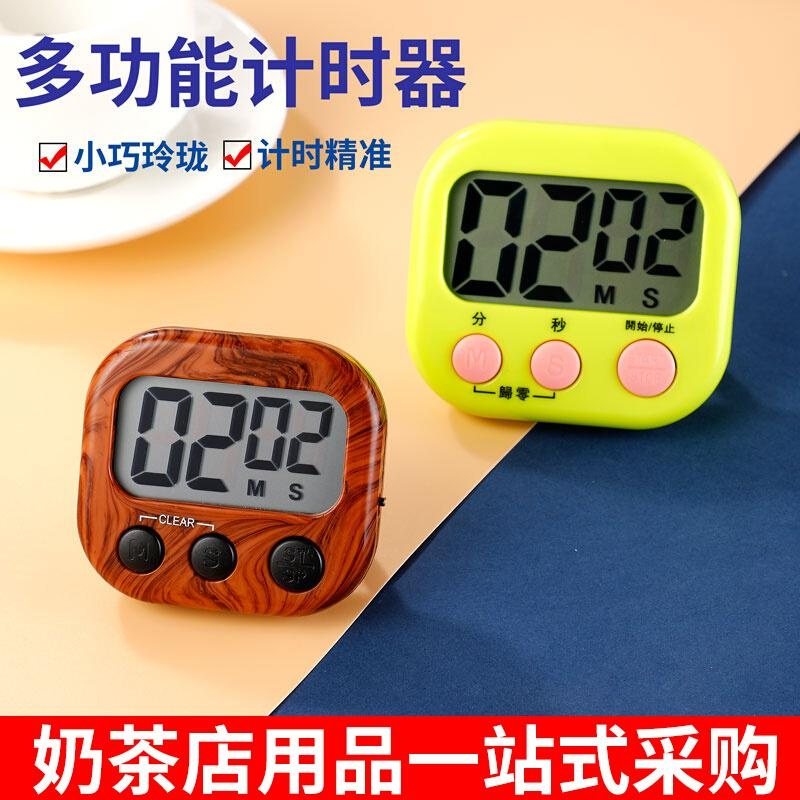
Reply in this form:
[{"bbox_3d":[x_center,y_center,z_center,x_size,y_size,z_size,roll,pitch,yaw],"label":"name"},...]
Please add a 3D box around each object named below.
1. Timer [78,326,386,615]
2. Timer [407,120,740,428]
[{"bbox_3d":[-0.114,0.051,0.558,0.246,0.181,0.072,3,-2,2],"label":"Timer"},{"bbox_3d":[0.107,-0.094,0.637,0.298,0.227,0.090,-1,8,-20],"label":"Timer"}]
